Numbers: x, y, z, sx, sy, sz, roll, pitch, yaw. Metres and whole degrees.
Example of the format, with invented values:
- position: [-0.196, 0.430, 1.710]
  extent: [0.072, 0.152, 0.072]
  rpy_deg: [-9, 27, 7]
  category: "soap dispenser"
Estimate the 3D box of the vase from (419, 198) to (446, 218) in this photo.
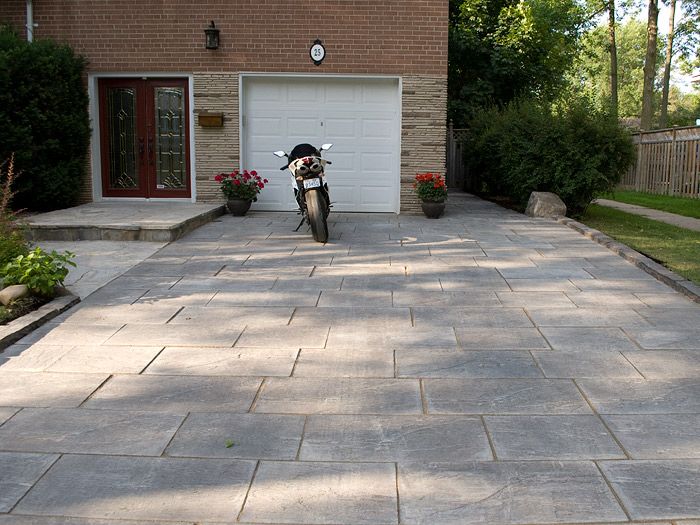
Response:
- position: [1.717, -1.118, 10.571]
  extent: [0.490, 0.229, 0.482]
  rpy_deg: [3, 5, 41]
  category: "vase"

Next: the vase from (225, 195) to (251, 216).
- position: [-2.328, -1.173, 10.569]
  extent: [0.542, 0.242, 0.438]
  rpy_deg: [2, 7, 8]
  category: "vase"

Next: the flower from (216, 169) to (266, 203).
- position: [-2.272, -1.644, 10.754]
  extent: [1.064, 0.513, 0.922]
  rpy_deg: [1, 16, 0]
  category: "flower"

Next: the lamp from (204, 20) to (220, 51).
- position: [-2.844, -4.712, 10.513]
  extent: [0.341, 0.574, 0.276]
  rpy_deg: [-6, 17, -9]
  category: "lamp"

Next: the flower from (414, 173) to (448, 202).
- position: [1.593, -1.615, 10.673]
  extent: [0.794, 0.585, 0.760]
  rpy_deg: [3, 16, 6]
  category: "flower"
